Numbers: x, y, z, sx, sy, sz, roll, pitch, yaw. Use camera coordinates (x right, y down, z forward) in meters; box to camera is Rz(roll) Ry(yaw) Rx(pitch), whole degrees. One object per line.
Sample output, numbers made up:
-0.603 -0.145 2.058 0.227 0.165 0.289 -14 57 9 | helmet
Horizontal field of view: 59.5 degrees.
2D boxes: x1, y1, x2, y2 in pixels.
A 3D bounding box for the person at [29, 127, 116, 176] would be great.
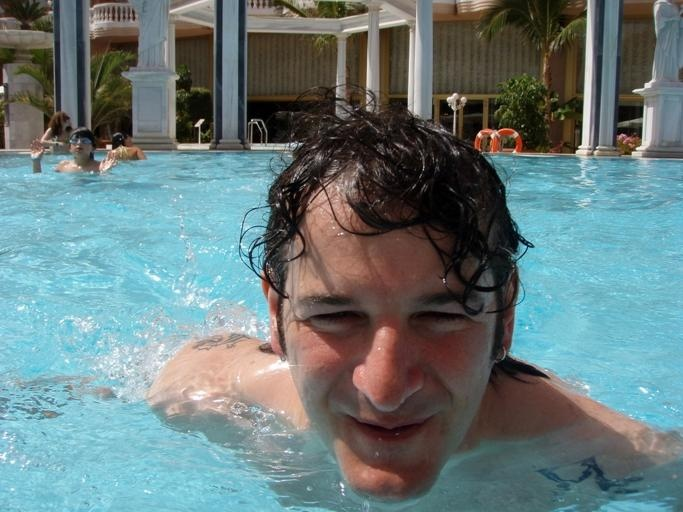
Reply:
-3.315 -1.297 7.611 1.316 0.578 0.360 2 -6 7 | person
